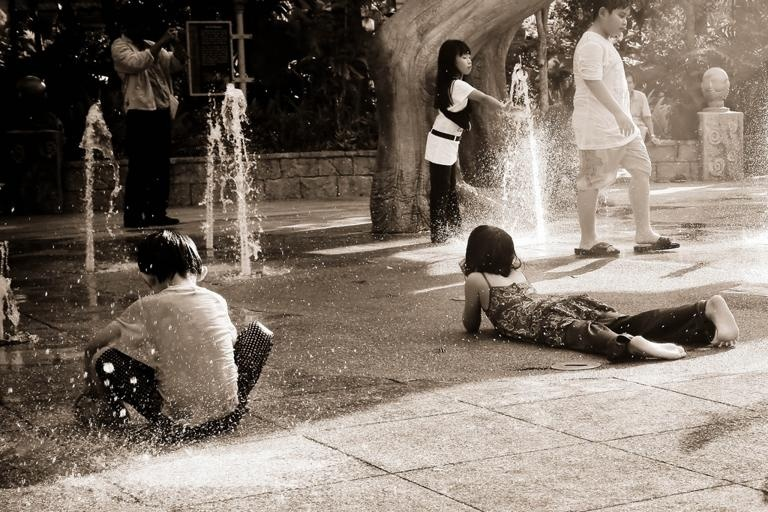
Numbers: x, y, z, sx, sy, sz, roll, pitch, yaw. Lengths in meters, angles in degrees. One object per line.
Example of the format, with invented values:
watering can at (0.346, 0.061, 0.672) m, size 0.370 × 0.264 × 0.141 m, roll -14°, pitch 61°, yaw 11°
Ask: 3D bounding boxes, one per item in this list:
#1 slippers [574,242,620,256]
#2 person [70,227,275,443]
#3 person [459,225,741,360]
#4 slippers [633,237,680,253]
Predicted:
slippers at (2.057, -0.056, 8.964) m, size 0.328 × 0.104 × 0.173 m, roll -1°, pitch 3°, yaw 20°
person at (-1.218, 0.403, 5.200) m, size 1.198 × 1.131 × 1.195 m, roll 5°, pitch 10°, yaw 14°
person at (1.232, 0.200, 6.140) m, size 0.816 × 0.793 × 2.014 m, roll -5°, pitch 5°, yaw -34°
slippers at (2.686, -0.102, 9.089) m, size 0.357 × 0.110 × 0.184 m, roll -4°, pitch 1°, yaw 5°
